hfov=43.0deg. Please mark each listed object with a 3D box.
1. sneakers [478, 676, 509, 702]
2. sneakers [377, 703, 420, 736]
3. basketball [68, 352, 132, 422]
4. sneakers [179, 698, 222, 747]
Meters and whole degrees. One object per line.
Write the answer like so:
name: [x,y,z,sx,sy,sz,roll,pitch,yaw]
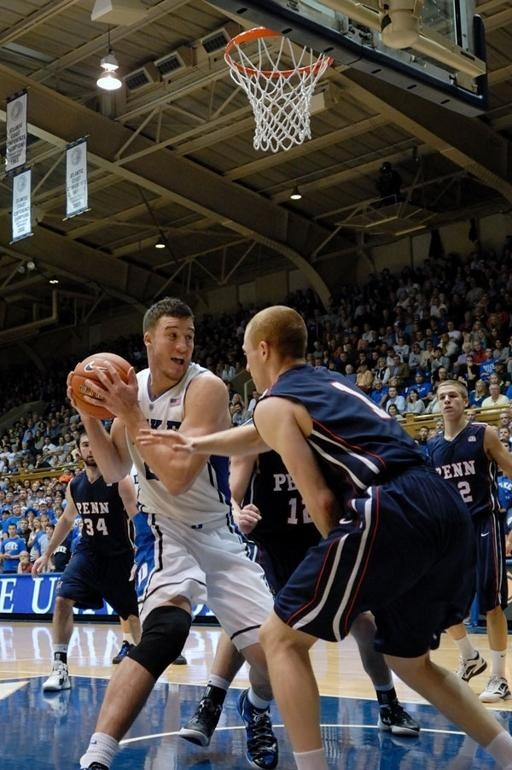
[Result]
sneakers: [1.315,1.692,3.586,0.086,0.089,0.208,-21,-26,23]
sneakers: [0.608,1.468,2.869,0.090,0.104,0.235,6,-11,-23]
basketball: [-0.525,-0.001,2.495,0.251,0.268,0.231,15,-5,-36]
sneakers: [-0.194,1.354,2.579,0.092,0.183,0.275,24,-23,26]
